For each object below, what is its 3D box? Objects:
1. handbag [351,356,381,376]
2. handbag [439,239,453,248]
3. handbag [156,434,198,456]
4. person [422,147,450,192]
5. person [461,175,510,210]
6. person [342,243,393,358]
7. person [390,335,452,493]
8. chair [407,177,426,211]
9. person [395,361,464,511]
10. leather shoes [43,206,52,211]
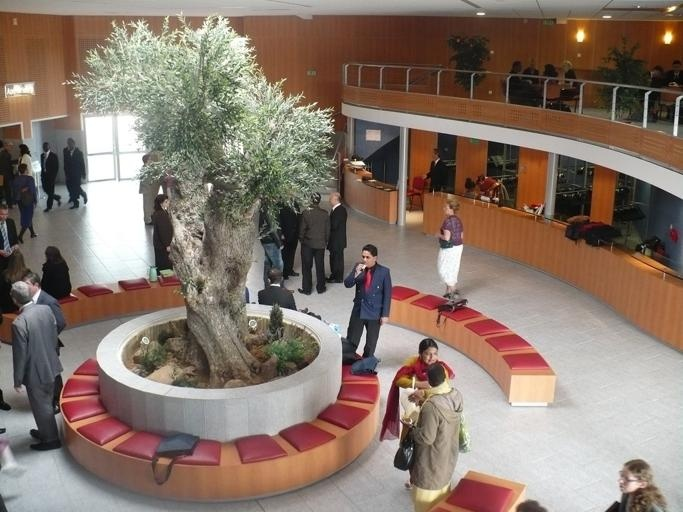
[{"bbox_3d":[0.313,1.555,6.523,0.286,0.117,0.231,1,20,4],"label":"handbag"},{"bbox_3d":[2.173,-0.265,9.589,0.257,0.302,0.168,1,10,12],"label":"handbag"},{"bbox_3d":[-1.742,1.999,4.899,0.384,0.107,0.273,-1,16,0],"label":"handbag"},{"bbox_3d":[3.155,-2.868,15.292,0.658,1.327,2.098,2,16,10],"label":"person"},{"bbox_3d":[4.773,-1.937,15.122,1.306,0.791,1.796,-5,30,-14],"label":"person"},{"bbox_3d":[0.383,0.812,7.186,0.724,2.074,0.589,13,28,19],"label":"person"},{"bbox_3d":[0.814,1.690,5.115,0.744,1.495,0.425,7,7,-2],"label":"person"},{"bbox_3d":[2.810,-2.350,17.020,0.718,1.197,1.768,1,16,8],"label":"chair"},{"bbox_3d":[0.857,1.710,4.125,0.447,1.546,0.326,0,16,3],"label":"person"},{"bbox_3d":[-9.973,-1.612,15.634,0.240,0.238,0.116,10,13,23],"label":"leather shoes"}]
